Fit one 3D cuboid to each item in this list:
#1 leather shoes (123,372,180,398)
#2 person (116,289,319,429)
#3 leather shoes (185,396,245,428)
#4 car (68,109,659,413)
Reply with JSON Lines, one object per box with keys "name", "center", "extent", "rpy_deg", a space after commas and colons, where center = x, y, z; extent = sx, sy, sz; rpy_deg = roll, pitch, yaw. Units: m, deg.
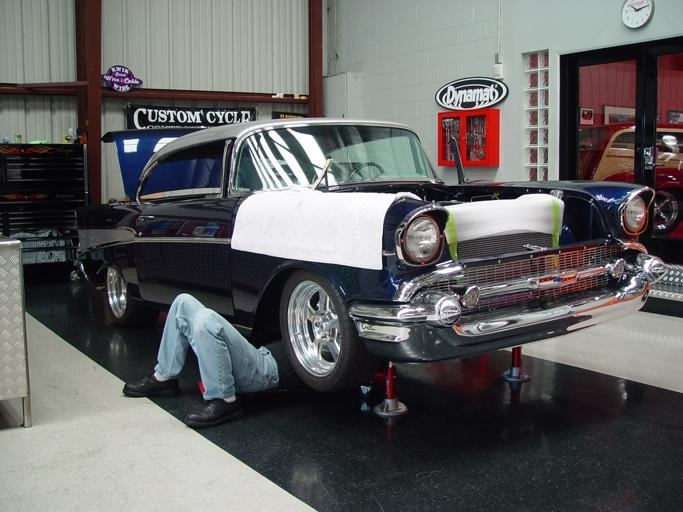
{"name": "leather shoes", "center": [-1.134, 0.763, 3.014], "extent": [0.310, 0.142, 0.138], "rpy_deg": [4, -3, -2]}
{"name": "person", "center": [-0.669, 0.526, 2.683], "extent": [0.563, 0.366, 0.868], "rpy_deg": [8, 2, 44]}
{"name": "leather shoes", "center": [-0.654, 0.813, 2.638], "extent": [0.318, 0.155, 0.121], "rpy_deg": [-2, 11, -28]}
{"name": "car", "center": [-0.379, 0.042, 3.406], "extent": [1.780, 1.090, 3.407], "rpy_deg": [-3, 3, -37]}
